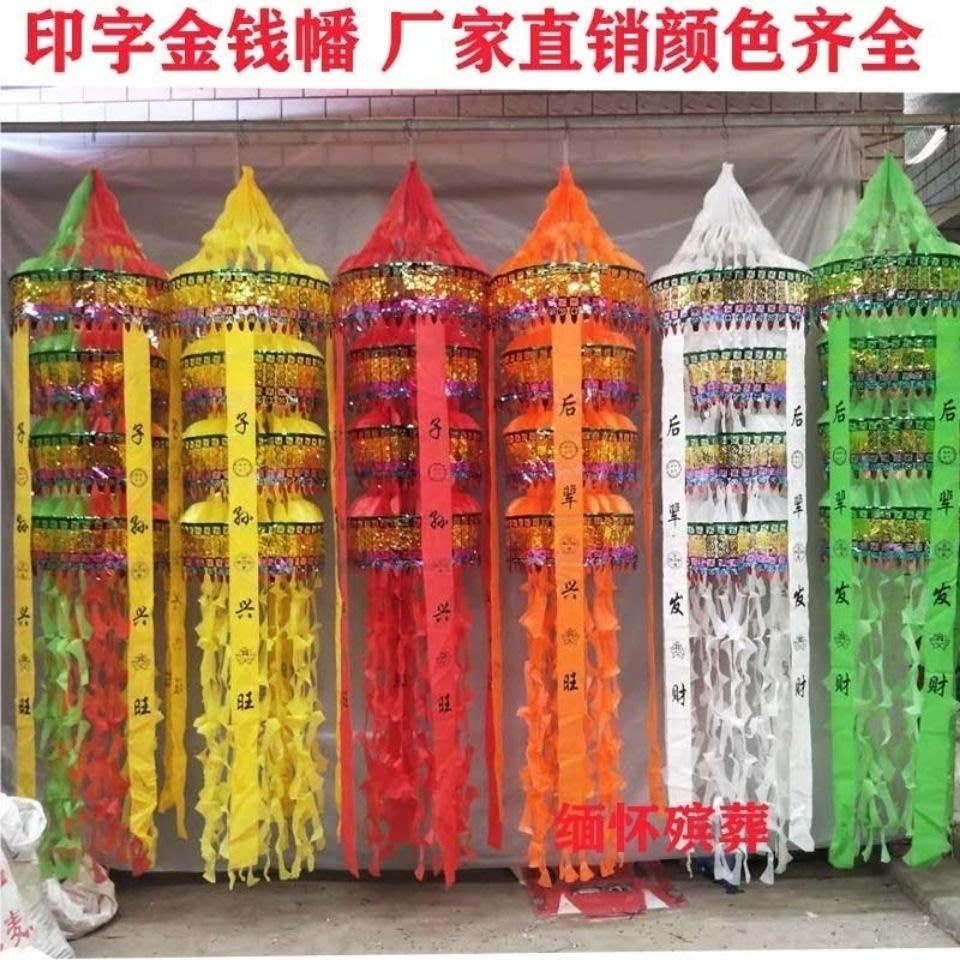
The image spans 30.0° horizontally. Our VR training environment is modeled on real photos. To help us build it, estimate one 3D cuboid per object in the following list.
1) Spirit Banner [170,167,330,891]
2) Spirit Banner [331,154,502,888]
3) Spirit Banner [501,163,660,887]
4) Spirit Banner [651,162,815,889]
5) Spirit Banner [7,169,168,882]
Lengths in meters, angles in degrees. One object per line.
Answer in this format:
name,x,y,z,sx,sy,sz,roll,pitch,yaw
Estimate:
Spirit Banner,-0.630,0.134,5.019,0.441,2.018,0.423,-2,-3,-10
Spirit Banner,-0.187,0.131,5.038,0.480,2.040,0.476,-2,-3,0
Spirit Banner,0.285,0.135,5.055,0.444,2.032,0.468,-2,-3,5
Spirit Banner,0.722,0.130,5.010,0.452,2.014,0.344,-2,-3,6
Spirit Banner,-1.086,0.126,4.983,0.442,1.953,0.312,-1,-3,-17
